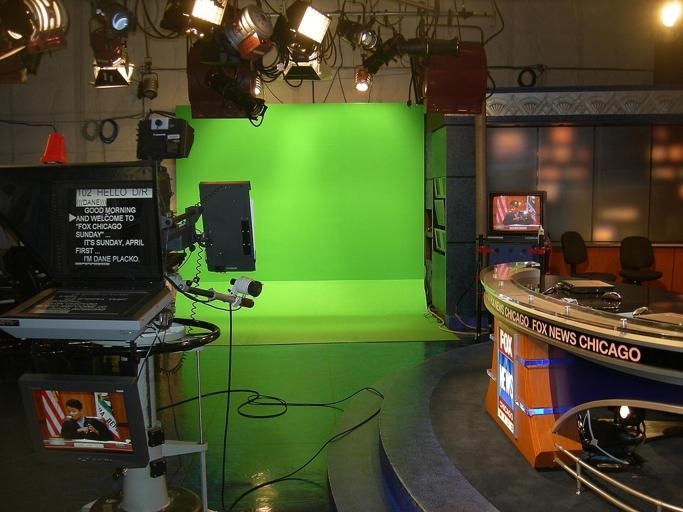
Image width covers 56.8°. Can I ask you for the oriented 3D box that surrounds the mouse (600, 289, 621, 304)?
[{"bbox_3d":[1.757,0.242,4.104,0.101,0.040,0.108,0,6,22],"label":"mouse"}]

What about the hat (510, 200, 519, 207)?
[{"bbox_3d":[2.016,-0.611,7.369,0.087,0.085,0.087,0,1,41],"label":"hat"}]

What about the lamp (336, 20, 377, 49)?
[{"bbox_3d":[0.171,-2.425,6.974,0.432,0.268,0.203,25,34,32],"label":"lamp"}]

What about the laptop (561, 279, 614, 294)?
[{"bbox_3d":[1.687,0.194,4.424,0.345,0.059,0.373,-1,8,0],"label":"laptop"}]

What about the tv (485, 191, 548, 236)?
[{"bbox_3d":[2.081,-0.522,7.496,0.637,0.539,0.351,3,13,19],"label":"tv"}]

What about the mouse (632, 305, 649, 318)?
[{"bbox_3d":[1.766,0.316,3.734,0.138,0.049,0.084,-6,9,-43],"label":"mouse"}]

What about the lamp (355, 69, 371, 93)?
[{"bbox_3d":[0.267,-2.180,7.787,0.172,0.232,0.516,-1,8,-2],"label":"lamp"}]

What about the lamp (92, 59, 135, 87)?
[{"bbox_3d":[-2.508,-1.913,6.892,0.374,0.257,0.385,5,13,25],"label":"lamp"}]

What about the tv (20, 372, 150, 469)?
[{"bbox_3d":[-1.419,0.896,3.535,0.637,0.498,0.094,2,22,3],"label":"tv"}]

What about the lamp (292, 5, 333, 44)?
[{"bbox_3d":[-0.290,-2.266,6.252,0.324,0.321,0.086,16,22,-29],"label":"lamp"}]

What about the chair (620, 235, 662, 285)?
[{"bbox_3d":[3.776,0.181,7.986,0.496,0.801,0.559,2,11,18],"label":"chair"}]
